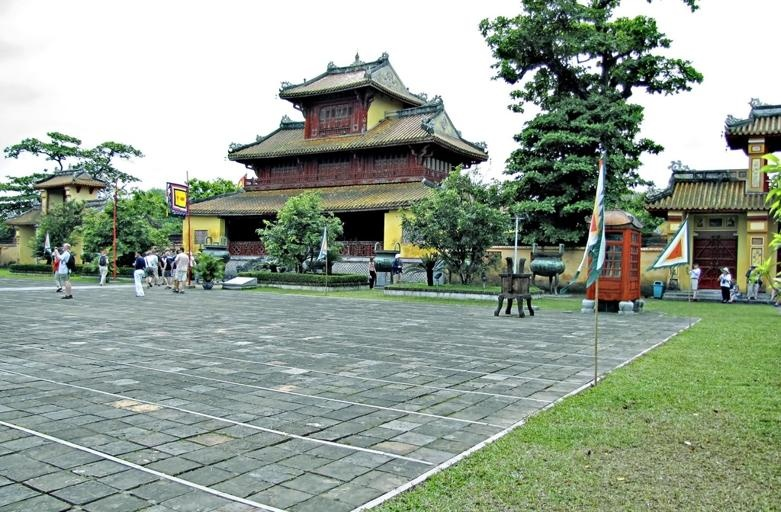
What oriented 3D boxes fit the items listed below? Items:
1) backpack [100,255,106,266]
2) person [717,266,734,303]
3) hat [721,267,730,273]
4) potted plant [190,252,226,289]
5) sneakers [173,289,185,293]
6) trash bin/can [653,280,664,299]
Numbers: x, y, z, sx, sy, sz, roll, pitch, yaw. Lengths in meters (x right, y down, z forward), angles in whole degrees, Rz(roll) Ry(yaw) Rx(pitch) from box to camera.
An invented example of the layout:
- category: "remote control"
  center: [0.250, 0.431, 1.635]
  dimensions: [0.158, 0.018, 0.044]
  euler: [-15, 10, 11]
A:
- category: "backpack"
  center: [-12.678, 0.188, 29.338]
  dimensions: [0.251, 0.465, 0.465]
  euler: [-6, 11, -33]
- category: "person"
  center: [12.854, 1.160, 25.527]
  dimensions: [0.432, 1.339, 0.938]
  euler: [5, 11, 28]
- category: "hat"
  center: [13.323, 0.580, 26.579]
  dimensions: [0.239, 0.084, 0.233]
  euler: [9, 12, 43]
- category: "potted plant"
  center: [-8.211, 0.657, 29.727]
  dimensions: [1.626, 1.720, 1.641]
  euler: [2, 1, -1]
- category: "sneakers"
  center: [-8.505, 1.413, 26.705]
  dimensions: [0.354, 0.156, 0.130]
  euler: [12, 10, 37]
- category: "trash bin/can"
  center: [11.045, 1.419, 27.545]
  dimensions: [0.425, 0.636, 0.769]
  euler: [3, 10, 19]
